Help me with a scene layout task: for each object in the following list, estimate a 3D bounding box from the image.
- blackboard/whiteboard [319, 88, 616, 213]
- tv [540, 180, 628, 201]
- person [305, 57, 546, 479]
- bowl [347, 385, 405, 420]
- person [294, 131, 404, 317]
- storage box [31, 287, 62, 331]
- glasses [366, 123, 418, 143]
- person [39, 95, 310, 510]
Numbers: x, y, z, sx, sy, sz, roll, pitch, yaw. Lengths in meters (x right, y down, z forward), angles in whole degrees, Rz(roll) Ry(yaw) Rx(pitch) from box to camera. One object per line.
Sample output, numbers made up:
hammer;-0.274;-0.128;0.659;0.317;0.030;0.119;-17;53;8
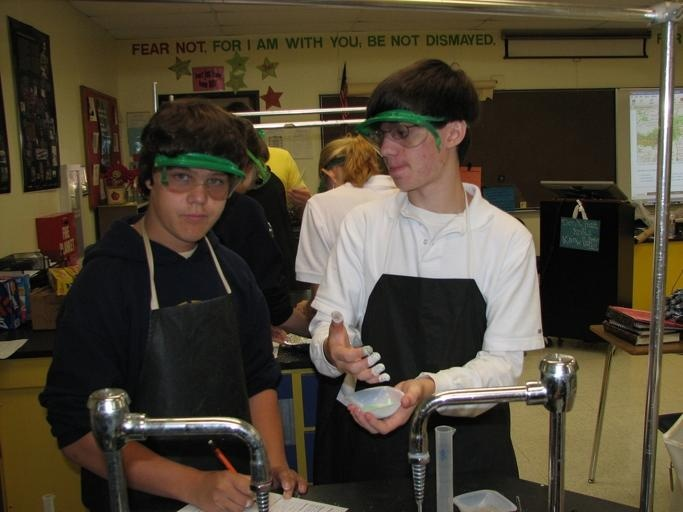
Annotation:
blackboard/whiteboard;0.491;-1.187;6.630;0.062;1.370;2.905;13;2;-29
tv;2.056;-0.549;5.303;0.260;0.168;0.701;-10;14;-33
person;0.279;0.105;2.060;0.791;1.475;0.624;-3;11;-4
bowl;0.104;0.412;1.765;0.126;0.052;0.082;-1;13;3
person;0.117;-0.156;3.553;0.494;1.139;0.366;-20;41;-12
storage box;-1.458;0.266;3.074;0.173;0.236;0.237;3;-4;-13
glasses;0.160;-0.406;2.055;0.085;0.029;0.092;-5;-4;29
person;-0.548;0.111;1.902;0.700;1.143;0.457;-5;11;-12
